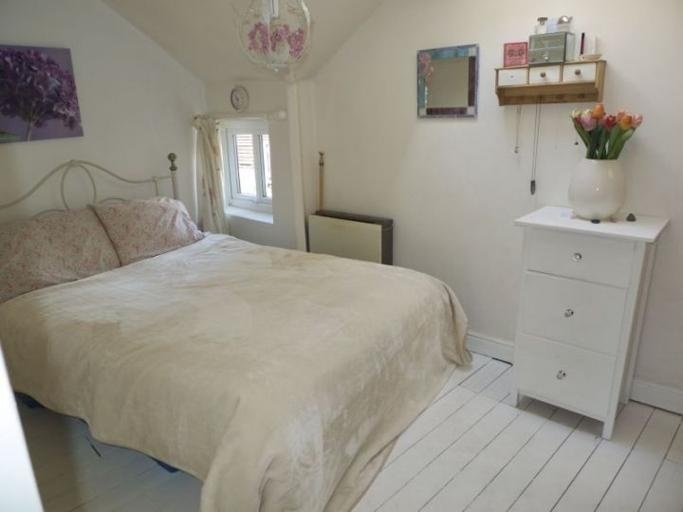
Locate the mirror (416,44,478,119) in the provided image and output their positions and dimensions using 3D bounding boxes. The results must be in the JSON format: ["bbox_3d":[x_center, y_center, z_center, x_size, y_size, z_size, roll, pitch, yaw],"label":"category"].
[{"bbox_3d":[0.740,-1.227,3.394,0.453,0.494,0.052,10,23,34],"label":"mirror"}]

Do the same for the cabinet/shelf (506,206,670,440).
[{"bbox_3d":[1.455,0.380,3.051,0.674,1.298,0.569,13,25,37],"label":"cabinet/shelf"}]

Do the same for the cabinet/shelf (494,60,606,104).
[{"bbox_3d":[1.248,-1.039,2.974,0.605,0.241,0.223,4,14,25],"label":"cabinet/shelf"}]

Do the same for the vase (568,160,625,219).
[{"bbox_3d":[1.515,-0.407,2.888,0.281,0.387,0.311,2,16,20],"label":"vase"}]

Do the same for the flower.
[{"bbox_3d":[1.512,-0.713,2.823,0.292,0.306,0.332,1,22,10],"label":"flower"}]
